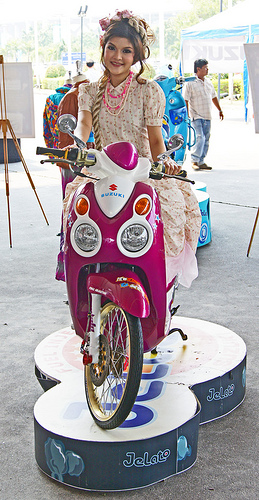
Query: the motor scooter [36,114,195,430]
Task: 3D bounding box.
[{"bbox_3d":[-0.055,0.085,1.366,0.458,1.032,0.576,3,7,25],"label":"motor scooter"}]
